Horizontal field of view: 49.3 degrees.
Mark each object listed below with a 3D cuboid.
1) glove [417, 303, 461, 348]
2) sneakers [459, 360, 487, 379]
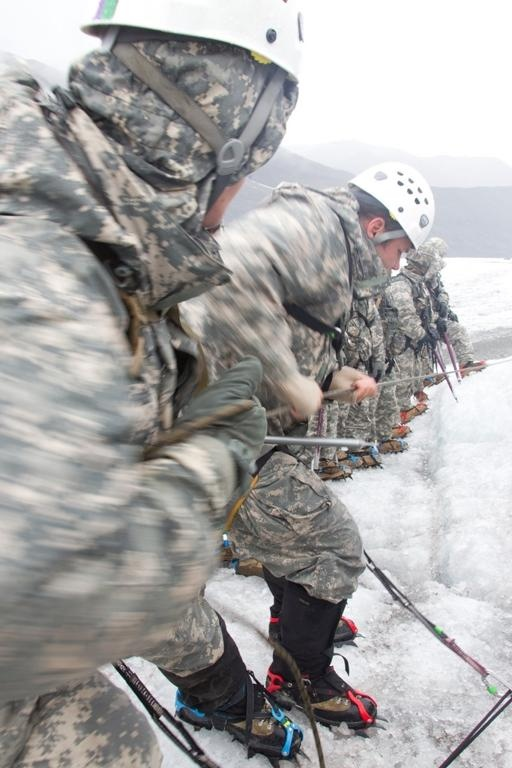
[{"bbox_3d":[2.562,-0.822,7.947,0.564,0.633,0.294,-21,16,-32],"label":"glove"},{"bbox_3d":[2.893,-0.183,7.476,0.138,0.206,0.515,43,33,26],"label":"sneakers"}]
